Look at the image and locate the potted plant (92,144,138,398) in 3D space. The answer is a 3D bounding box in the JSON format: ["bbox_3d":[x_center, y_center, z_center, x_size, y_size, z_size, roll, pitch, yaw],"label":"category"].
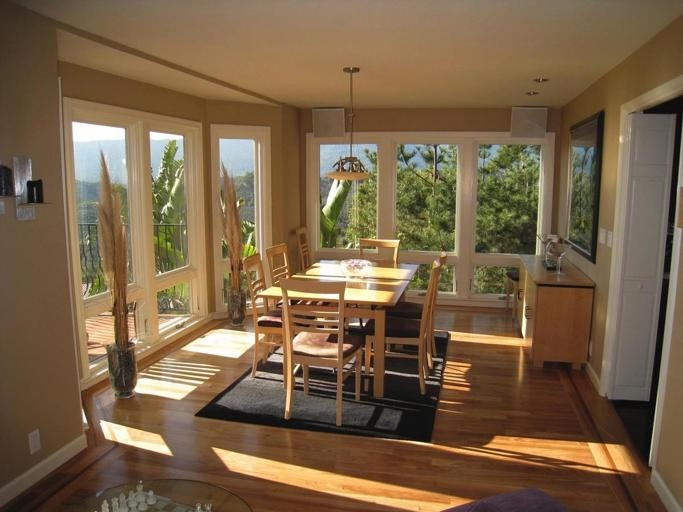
[{"bbox_3d":[-1.973,0.200,4.218,0.258,2.142,0.192,-7,16,-27],"label":"potted plant"}]

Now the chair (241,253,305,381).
[{"bbox_3d":[-0.637,0.592,4.874,0.551,1.087,0.619,-10,-5,27],"label":"chair"}]

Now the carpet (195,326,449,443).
[{"bbox_3d":[-0.139,1.330,4.962,1.863,0.021,2.754,5,-4,3],"label":"carpet"}]

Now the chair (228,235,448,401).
[{"bbox_3d":[0.099,0.573,4.805,1.454,0.934,1.512,1,7,17],"label":"chair"}]

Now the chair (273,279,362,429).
[{"bbox_3d":[-0.177,0.688,4.310,0.697,1.233,1.109,-2,14,-7],"label":"chair"}]

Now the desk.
[{"bbox_3d":[2.315,0.601,5.332,0.573,0.920,0.950,3,14,12],"label":"desk"}]
